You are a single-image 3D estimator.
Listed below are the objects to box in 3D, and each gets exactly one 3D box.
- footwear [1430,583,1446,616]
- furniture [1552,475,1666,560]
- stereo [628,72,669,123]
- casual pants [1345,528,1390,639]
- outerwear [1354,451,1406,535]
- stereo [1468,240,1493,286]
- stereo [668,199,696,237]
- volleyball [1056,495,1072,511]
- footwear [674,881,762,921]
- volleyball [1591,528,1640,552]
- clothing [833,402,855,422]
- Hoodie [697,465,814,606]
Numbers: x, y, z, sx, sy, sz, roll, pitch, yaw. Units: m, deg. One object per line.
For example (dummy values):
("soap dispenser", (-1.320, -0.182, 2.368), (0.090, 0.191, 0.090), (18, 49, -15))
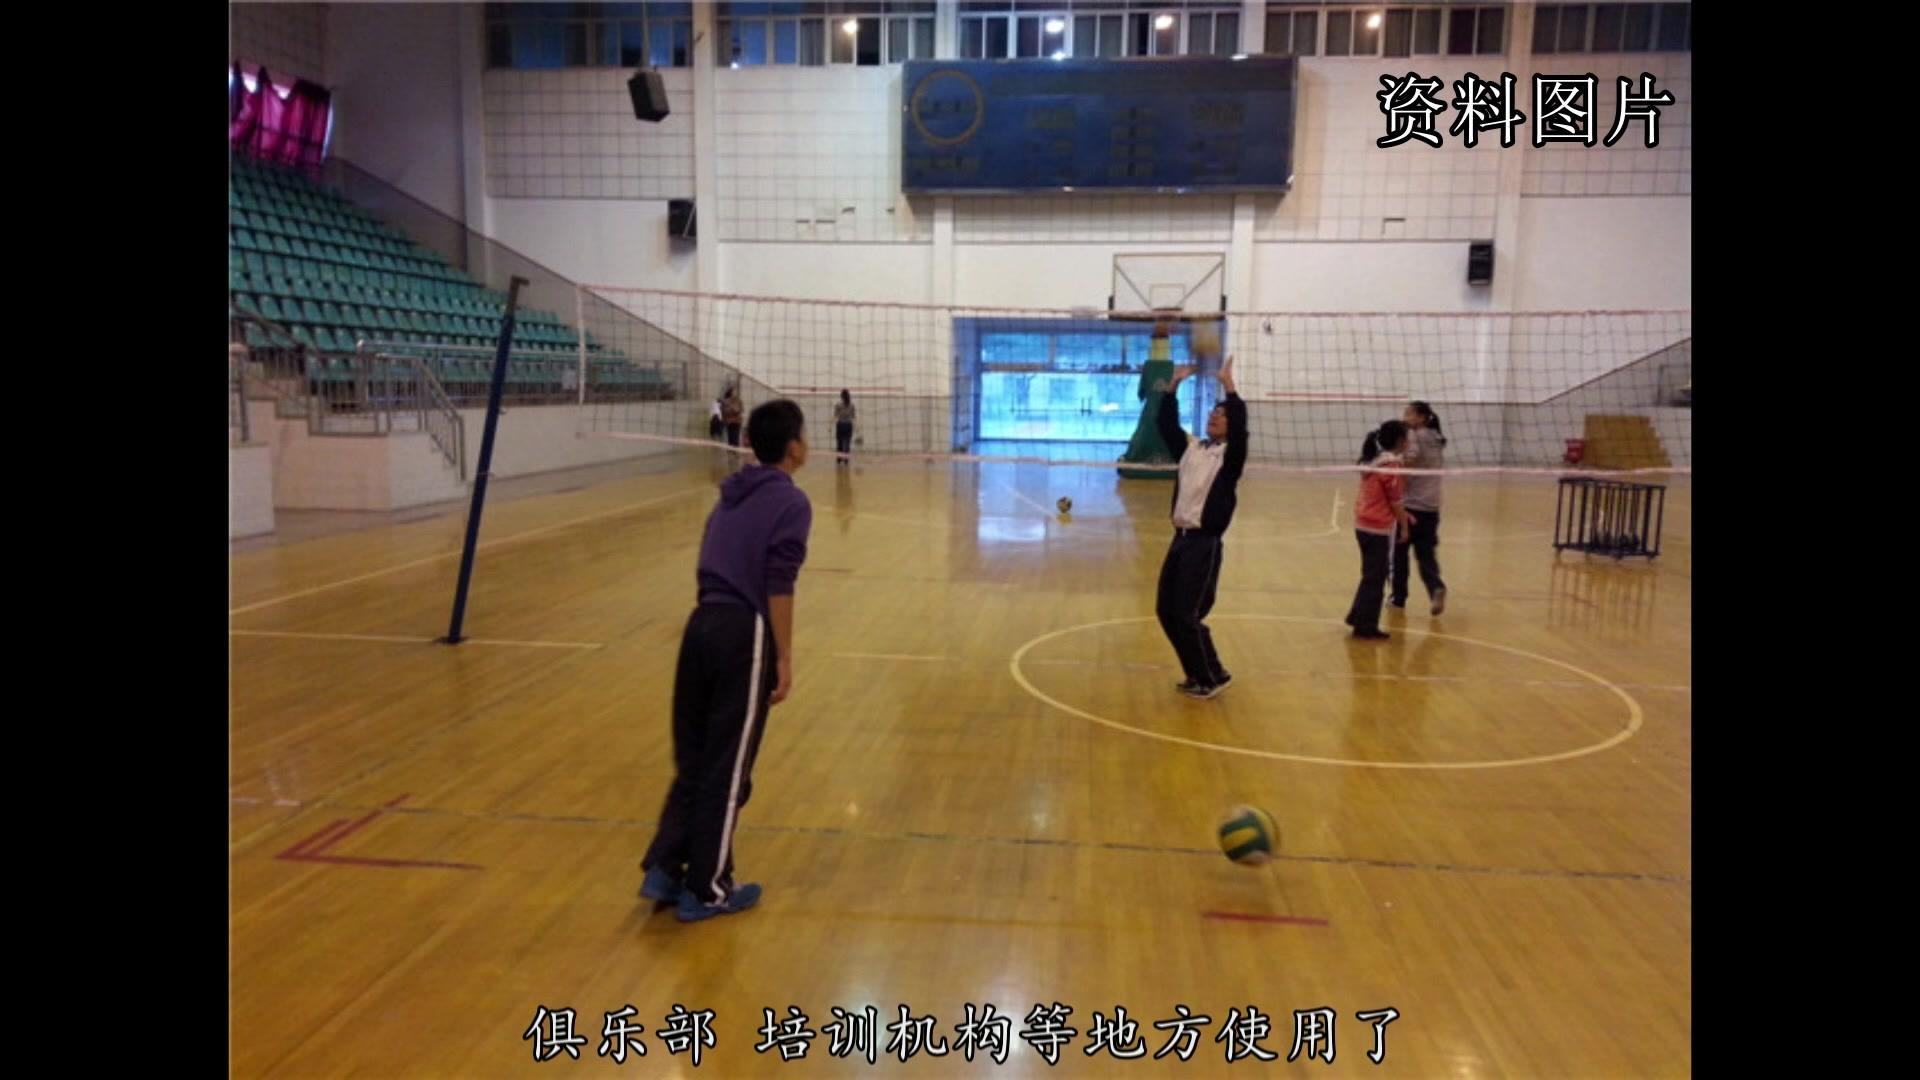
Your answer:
("footwear", (4.346, 0.558, 10.716), (0.109, 0.281, 0.128), (7, -24, -7))
("furniture", (7.706, -0.223, 13.973), (1.095, 0.767, 0.612), (3, 14, -4))
("stereo", (-4.438, -6.419, 16.787), (0.428, 0.723, 0.725), (-3, 10, -8))
("casual pants", (3.555, 0.370, 10.268), (0.327, 0.977, 0.548), (2, 11, 18))
("outerwear", (3.555, -0.389, 9.965), (0.375, 0.681, 0.362), (2, 11, 18))
("stereo", (8.705, -4.609, 19.632), (0.432, 0.745, 0.353), (2, 11, 15))
("stereo", (-5.100, -5.984, 21.750), (0.447, 0.786, 0.437), (11, 27, 6))
("volleyball", (1.473, -0.491, 16.400), (0.217, 0.130, 0.271), (1, 8, 3))
("footwear", (-1.272, 1.910, 6.283), (0.450, 0.193, 0.159), (-8, 11, -16))
("volleyball", (7.391, 0.061, 13.268), (0.357, 0.165, 0.367), (1, 3, 40))
("clothing", (-1.943, -2.138, 19.861), (0.470, 0.415, 0.251), (2, 24, 0))
("Hoodie", (-1.072, -0.005, 6.118), (0.570, 0.736, 0.322), (-2, 11, -5))
